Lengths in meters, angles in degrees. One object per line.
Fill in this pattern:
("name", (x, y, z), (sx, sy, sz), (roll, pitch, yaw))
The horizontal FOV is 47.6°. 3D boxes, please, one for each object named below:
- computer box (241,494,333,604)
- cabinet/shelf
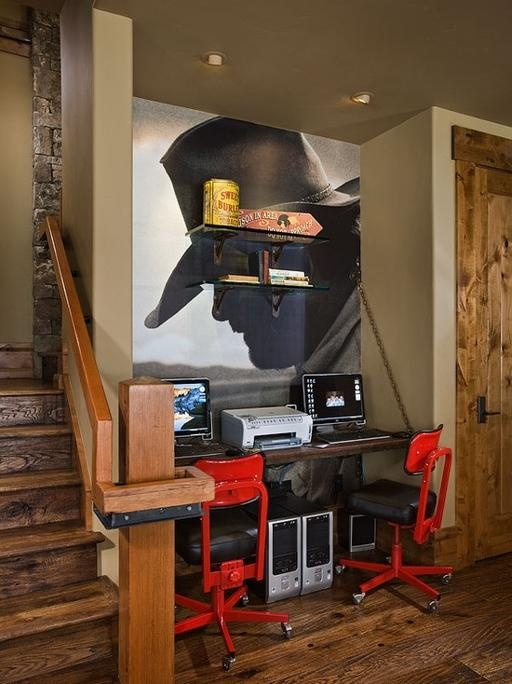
("computer box", (0.177, 1.136, 3.229), (0.446, 0.397, 0.435), (2, -5, -30))
("cabinet/shelf", (-0.007, -0.444, 3.552), (0.876, 0.417, 0.287), (0, 5, -30))
